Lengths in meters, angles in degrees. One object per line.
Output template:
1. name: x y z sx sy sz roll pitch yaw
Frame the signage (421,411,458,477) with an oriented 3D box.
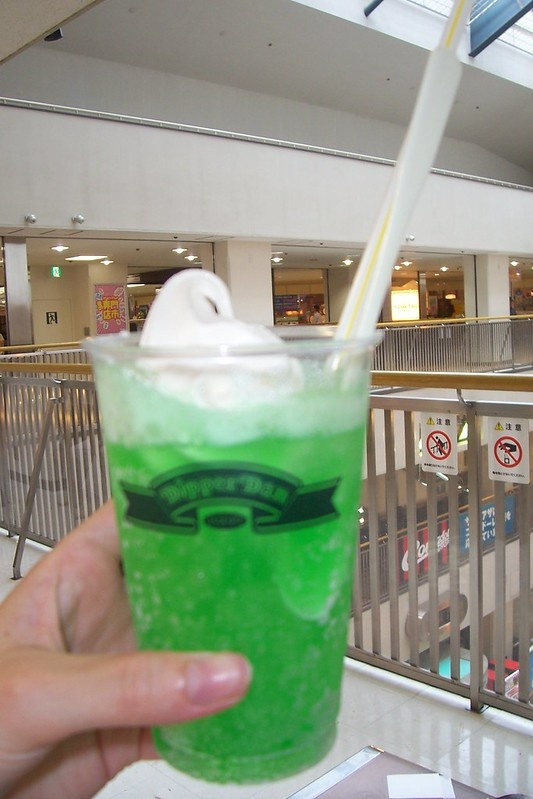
1. signage: 0.637 0.167 2.217 0.135 0.233 0.077 2 5 28

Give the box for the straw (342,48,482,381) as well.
1. straw: 0.065 -0.100 0.369 0.068 0.192 0.099 0 7 -7

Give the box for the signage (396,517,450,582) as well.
1. signage: 0.647 0.609 2.428 0.395 0.227 0.006 -6 15 -38
